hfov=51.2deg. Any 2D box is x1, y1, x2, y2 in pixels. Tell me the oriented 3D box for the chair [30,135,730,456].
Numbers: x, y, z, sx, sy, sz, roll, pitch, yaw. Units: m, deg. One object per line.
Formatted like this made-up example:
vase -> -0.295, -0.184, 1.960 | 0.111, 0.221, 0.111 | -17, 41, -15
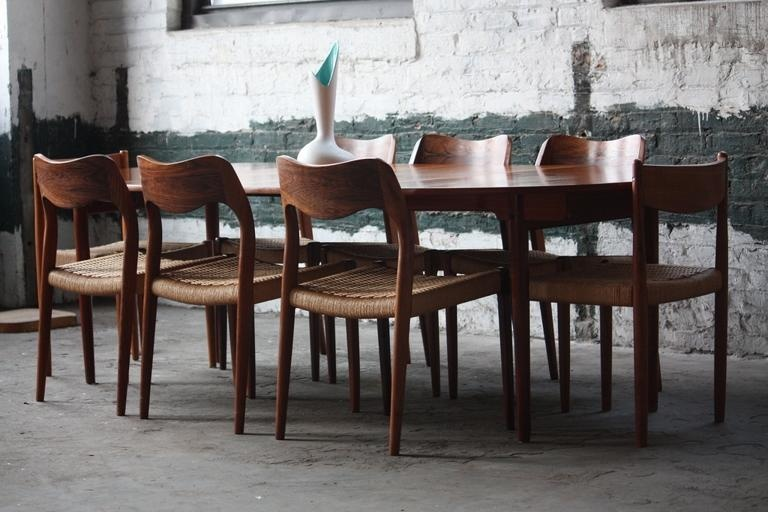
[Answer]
chair -> 0.142, 0.127, 3.318 | 2.512, 1.114, 0.920 | 1, 12, 11
